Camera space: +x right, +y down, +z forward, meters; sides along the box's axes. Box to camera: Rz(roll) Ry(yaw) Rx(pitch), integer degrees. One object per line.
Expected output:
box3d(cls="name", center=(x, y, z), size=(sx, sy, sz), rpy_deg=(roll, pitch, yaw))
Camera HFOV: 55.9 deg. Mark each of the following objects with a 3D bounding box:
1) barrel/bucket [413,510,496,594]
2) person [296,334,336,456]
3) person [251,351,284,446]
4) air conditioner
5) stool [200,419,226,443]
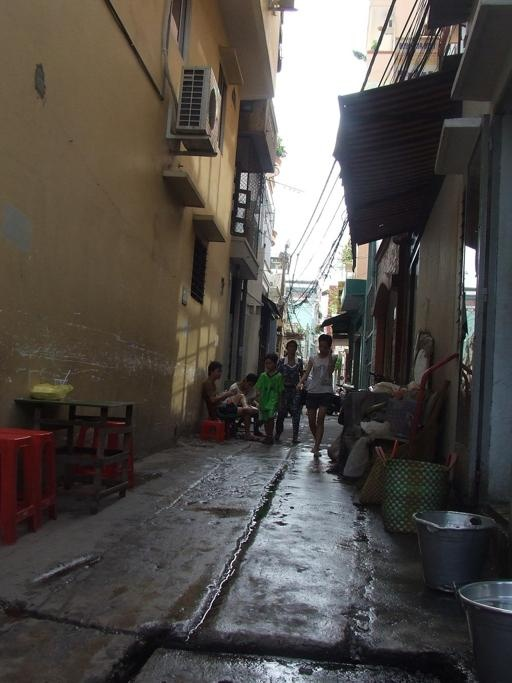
box3d(cls="barrel/bucket", center=(0.886, 0.961, 2.242), size=(0.426, 0.315, 0.362), rpy_deg=(7, -8, -34))
box3d(cls="person", center=(0.938, 0.780, 7.437), size=(0.507, 1.798, 1.490), rpy_deg=(1, -6, 9))
box3d(cls="person", center=(0.210, 0.933, 8.314), size=(0.424, 1.523, 1.244), rpy_deg=(1, -6, 0))
box3d(cls="air conditioner", center=(-0.753, -2.916, 6.133), size=(0.468, 0.916, 0.639), rpy_deg=(1, -6, 9))
box3d(cls="stool", center=(-0.741, 1.469, 8.070), size=(0.392, 0.322, 0.377), rpy_deg=(1, -7, 8))
